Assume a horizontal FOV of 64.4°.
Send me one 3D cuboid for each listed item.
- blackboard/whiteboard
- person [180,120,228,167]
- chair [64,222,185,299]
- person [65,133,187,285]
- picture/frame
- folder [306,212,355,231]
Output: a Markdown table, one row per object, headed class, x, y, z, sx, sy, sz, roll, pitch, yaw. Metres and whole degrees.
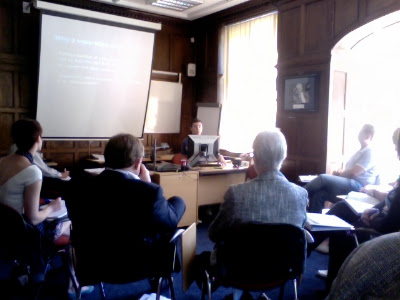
| class | x | y | z | sx | sy | sz | roll | pitch | yaw |
| --- | --- | --- | --- | --- | --- | --- | --- | --- | --- |
| blackboard/whiteboard | -0.786 | -0.877 | 6.671 | 0.864 | 1.078 | 0.169 | -8 | 12 | -42 |
| person | 0.104 | -0.096 | 5.181 | 0.711 | 0.678 | 0.251 | 1 | 1 | -11 |
| chair | -0.571 | 0.572 | 2.448 | 0.626 | 0.863 | 0.642 | 2 | 1 | 23 |
| person | -0.542 | 0.419 | 2.261 | 0.813 | 1.030 | 0.321 | 0 | 8 | 2 |
| picture/frame | 1.605 | -0.888 | 5.010 | 0.065 | 0.633 | 0.596 | -1 | 4 | -41 |
| folder | 0.957 | 0.557 | 2.450 | 0.348 | 0.055 | 0.276 | 0 | 10 | -2 |
